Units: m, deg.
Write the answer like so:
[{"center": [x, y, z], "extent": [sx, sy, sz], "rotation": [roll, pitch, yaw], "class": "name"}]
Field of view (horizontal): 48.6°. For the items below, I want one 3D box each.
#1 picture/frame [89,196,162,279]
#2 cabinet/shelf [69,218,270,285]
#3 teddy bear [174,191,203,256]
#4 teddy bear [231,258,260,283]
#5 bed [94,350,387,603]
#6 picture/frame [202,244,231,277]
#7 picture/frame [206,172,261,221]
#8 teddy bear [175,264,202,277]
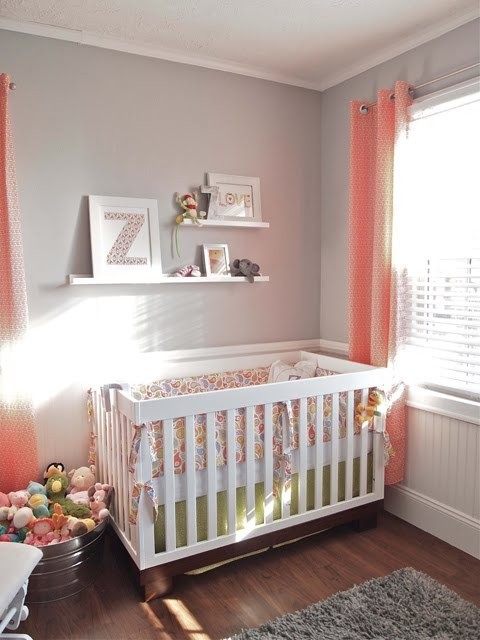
[{"center": [-0.546, -0.388, 2.477], "extent": [0.426, 0.465, 0.035], "rotation": [-2, -1, -37], "class": "picture/frame"}, {"center": [-0.398, -0.348, 2.751], "extent": [1.065, 0.328, 0.300], "rotation": [3, 8, 23], "class": "cabinet/shelf"}, {"center": [-0.245, -0.481, 2.649], "extent": [0.157, 0.325, 0.085], "rotation": [-4, 5, -34], "class": "teddy bear"}, {"center": [0.032, -0.273, 2.831], "extent": [0.136, 0.053, 0.119], "rotation": [34, 50, 4], "class": "teddy bear"}, {"center": [-0.064, 0.398, 2.318], "extent": [1.480, 0.864, 0.793], "rotation": [-4, 8, -29], "class": "bed"}, {"center": [-0.131, -0.311, 2.751], "extent": [0.179, 0.199, 0.024], "rotation": [-5, 3, -41], "class": "picture/frame"}, {"center": [-0.048, -0.649, 2.788], "extent": [0.315, 0.218, 0.023], "rotation": [-2, 0, -33], "class": "picture/frame"}, {"center": [-0.253, -0.251, 2.653], "extent": [0.096, 0.036, 0.065], "rotation": [-18, 21, -36], "class": "teddy bear"}]
